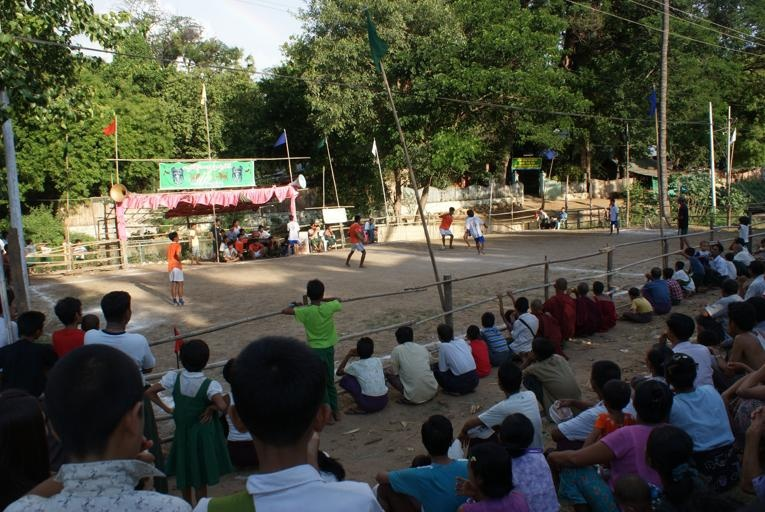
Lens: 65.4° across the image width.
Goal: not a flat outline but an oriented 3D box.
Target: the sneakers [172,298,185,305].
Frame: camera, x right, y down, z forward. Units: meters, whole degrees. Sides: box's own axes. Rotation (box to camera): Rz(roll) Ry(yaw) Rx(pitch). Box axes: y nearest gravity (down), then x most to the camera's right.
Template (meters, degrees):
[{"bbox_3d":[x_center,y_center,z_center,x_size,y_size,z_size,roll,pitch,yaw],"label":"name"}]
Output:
[{"bbox_3d":[-4.734,1.047,13.888,0.106,0.189,0.319,4,6,31],"label":"sneakers"}]

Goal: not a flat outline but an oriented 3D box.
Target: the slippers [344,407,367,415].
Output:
[{"bbox_3d":[-0.377,2.109,8.251,0.303,0.127,0.105,3,4,11],"label":"slippers"}]

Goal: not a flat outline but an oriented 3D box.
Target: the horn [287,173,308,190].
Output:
[{"bbox_3d":[-3.408,-2.949,23.608,0.607,0.619,1.176,-2,0,-12],"label":"horn"}]

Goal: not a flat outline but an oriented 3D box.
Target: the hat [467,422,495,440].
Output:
[{"bbox_3d":[1.067,1.894,6.520,0.172,0.088,0.221,1,-10,-19],"label":"hat"}]

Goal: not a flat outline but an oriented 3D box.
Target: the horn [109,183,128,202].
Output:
[{"bbox_3d":[-8.550,-2.110,19.190,0.398,0.714,0.359,-1,9,-9],"label":"horn"}]

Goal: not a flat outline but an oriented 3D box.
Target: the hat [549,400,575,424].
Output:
[{"bbox_3d":[1.931,1.712,6.506,0.192,0.237,0.368,-2,0,23],"label":"hat"}]
